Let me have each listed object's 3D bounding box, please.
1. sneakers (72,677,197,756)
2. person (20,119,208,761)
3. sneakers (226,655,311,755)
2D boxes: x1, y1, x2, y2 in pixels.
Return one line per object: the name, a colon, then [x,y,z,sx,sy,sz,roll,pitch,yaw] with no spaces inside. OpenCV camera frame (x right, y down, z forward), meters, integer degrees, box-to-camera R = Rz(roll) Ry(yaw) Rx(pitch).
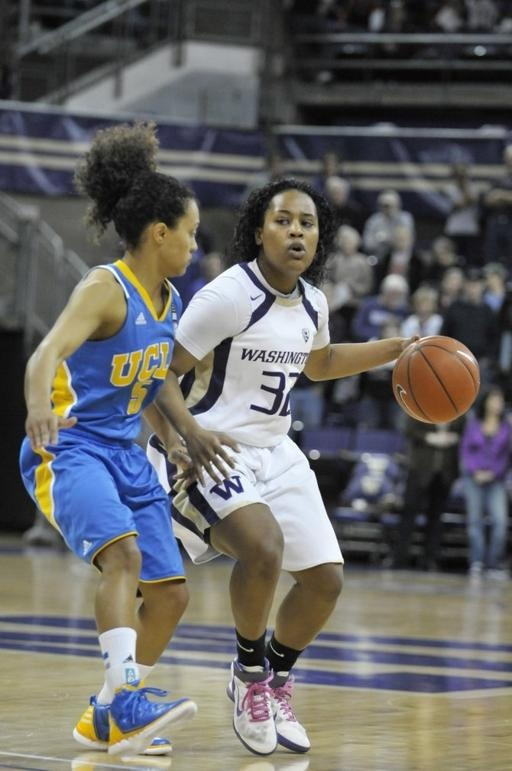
sneakers: [-0.284,0.785,2.342,0.393,0.160,0.149,-16,-39,35]
person: [-0.359,0.069,2.474,0.452,1.526,0.805,4,7,-7]
sneakers: [0.029,0.841,2.665,0.154,0.115,0.311,11,16,-34]
